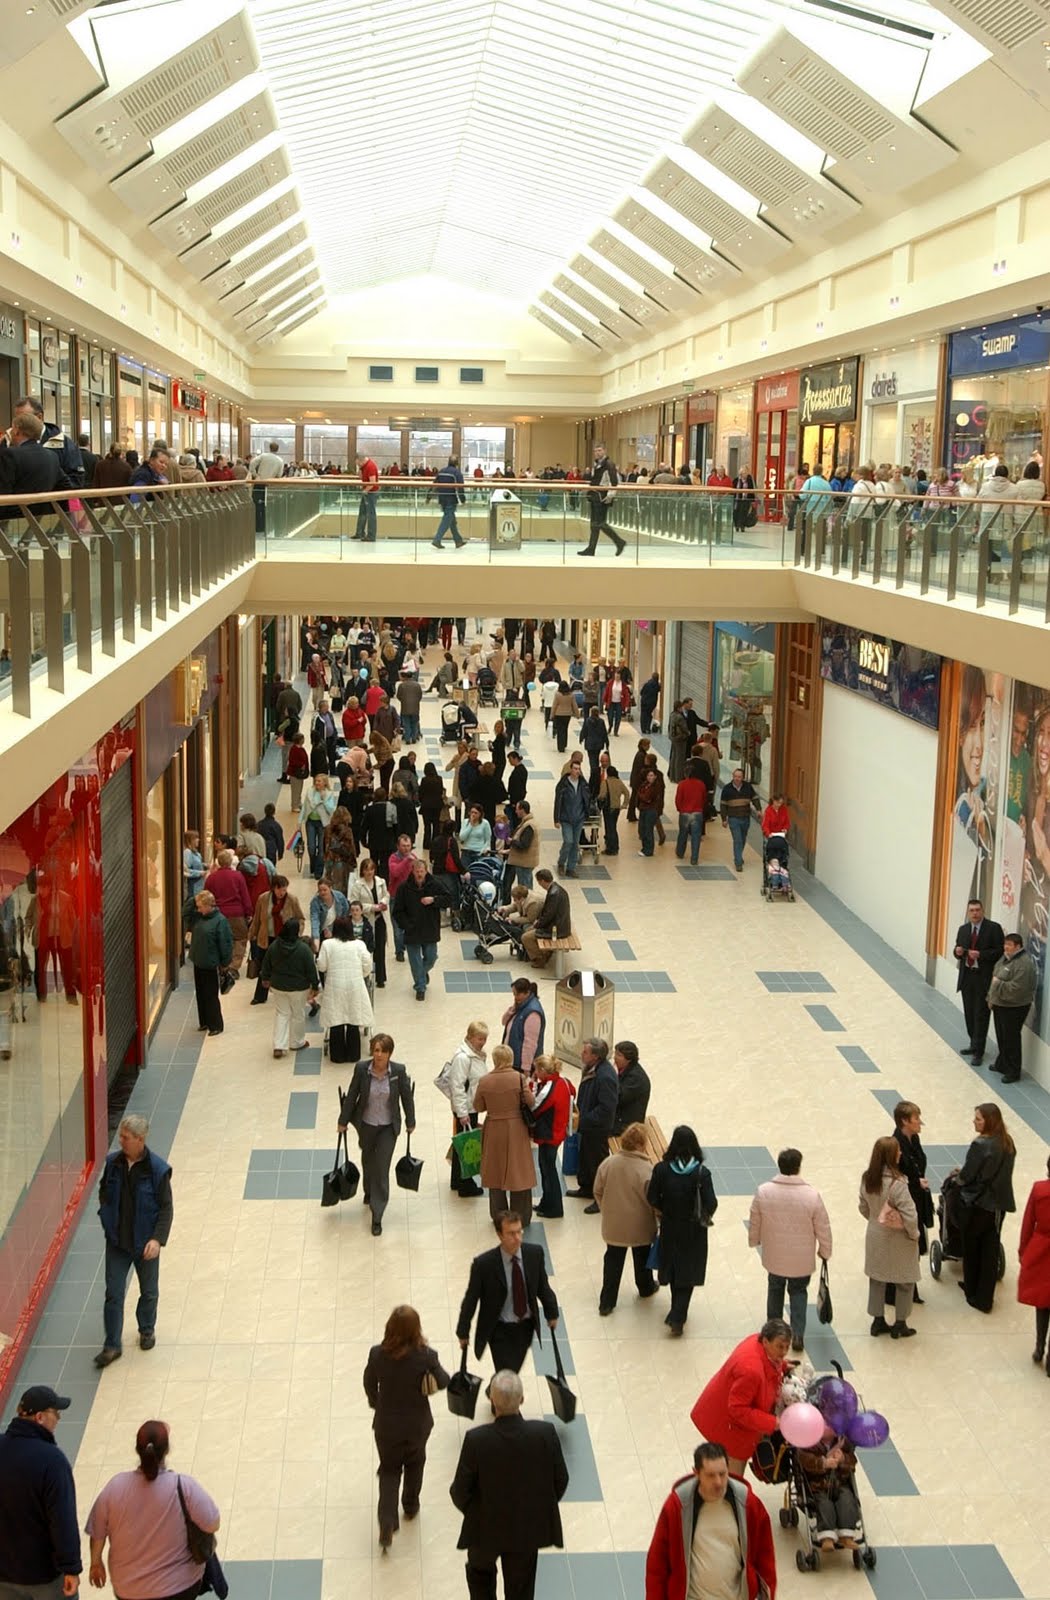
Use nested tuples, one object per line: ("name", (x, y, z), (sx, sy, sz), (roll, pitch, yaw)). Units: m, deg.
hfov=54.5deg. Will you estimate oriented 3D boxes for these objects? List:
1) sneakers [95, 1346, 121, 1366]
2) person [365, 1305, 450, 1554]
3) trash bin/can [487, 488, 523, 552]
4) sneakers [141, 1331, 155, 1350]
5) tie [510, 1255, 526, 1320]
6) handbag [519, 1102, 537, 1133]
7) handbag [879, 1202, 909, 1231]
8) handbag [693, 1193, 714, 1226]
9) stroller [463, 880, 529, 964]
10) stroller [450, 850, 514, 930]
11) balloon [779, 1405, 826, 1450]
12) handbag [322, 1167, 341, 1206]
("sneakers", (-2.259, 2.994, 5.495), (0.054, 0.073, 0.160), (-2, -1, 3))
("person", (-0.463, 2.425, 3.976), (0.290, 1.342, 0.530), (-1, 10, -6))
("trash bin/can", (-0.357, -4.853, 17.679), (0.742, 1.613, 0.843), (-2, 17, -6))
("sneakers", (-2.111, 3.023, 5.680), (0.045, 0.060, 0.123), (0, 10, -7))
("tie", (-0.030, 2.166, 4.521), (0.075, 0.378, 0.121), (2, 10, 8))
("handbag", (0.022, 2.075, 6.661), (0.073, 0.227, 0.154), (-3, 6, -8))
("handbag", (2.062, 2.348, 5.732), (0.143, 0.130, 0.126), (-1, 18, 1))
("handbag", (0.969, 2.231, 5.571), (0.068, 0.182, 0.166), (2, -6, 20))
("stroller", (-0.408, 1.626, 13.705), (0.874, 1.289, 0.809), (-2, 22, -3))
("stroller", (-0.601, 1.440, 14.240), (0.868, 1.317, 0.875), (2, 27, -3))
("balloon", (1.048, 2.384, 3.901), (0.153, 0.174, 0.166), (1, 11, 1))
("handbag", (-1.348, 2.677, 7.010), (0.111, 0.283, 0.097), (-3, 10, -16))
